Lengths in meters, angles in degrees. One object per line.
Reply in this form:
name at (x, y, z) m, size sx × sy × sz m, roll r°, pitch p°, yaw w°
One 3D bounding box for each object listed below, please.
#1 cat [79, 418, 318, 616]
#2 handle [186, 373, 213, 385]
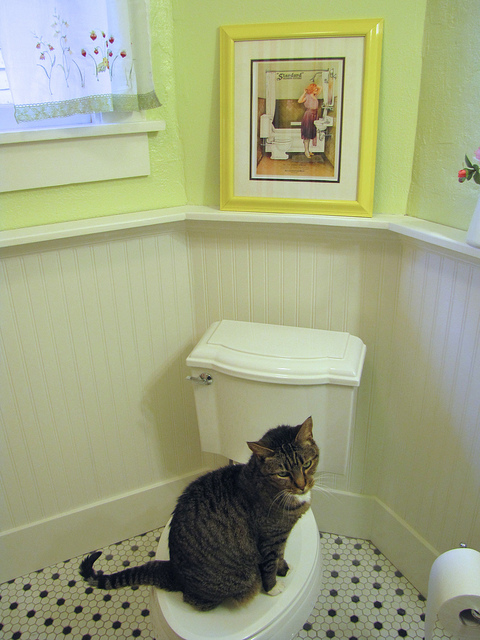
cat at (-0.069, 0.424, 0.957) m, size 0.500 × 0.292 × 0.175 m, roll -18°, pitch 4°, yaw 3°
handle at (-0.101, 0.135, 1.109) m, size 0.041 × 0.031 × 0.012 m, roll -24°, pitch 4°, yaw 27°
